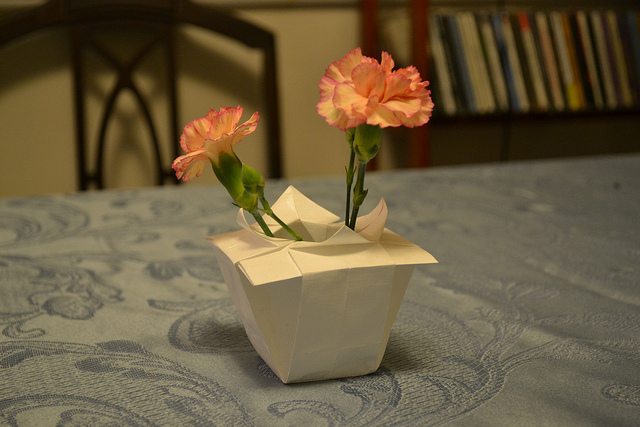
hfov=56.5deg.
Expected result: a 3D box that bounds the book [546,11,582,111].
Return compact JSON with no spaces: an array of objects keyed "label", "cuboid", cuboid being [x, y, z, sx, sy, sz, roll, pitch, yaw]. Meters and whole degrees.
[{"label":"book","cuboid":[0.476,-0.306,1.192,0.026,0.187,0.030,-3,9,14]}]

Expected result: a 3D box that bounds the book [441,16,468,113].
[{"label":"book","cuboid":[0.464,-0.512,2.032,0.030,0.271,0.337,-13,-22,6]}]

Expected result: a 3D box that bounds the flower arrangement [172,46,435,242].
[{"label":"flower arrangement","cuboid":[-0.018,-0.019,1.003,0.390,0.459,0.214,-7,36,-3]}]

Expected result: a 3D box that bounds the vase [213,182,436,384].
[{"label":"vase","cuboid":[0.009,0.117,0.976,0.342,0.261,0.332,-6,14,-26]}]

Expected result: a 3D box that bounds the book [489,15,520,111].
[{"label":"book","cuboid":[0.391,-0.313,1.257,0.039,0.218,0.027,-9,-6,10]}]

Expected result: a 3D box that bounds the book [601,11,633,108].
[{"label":"book","cuboid":[0.576,-0.299,1.151,0.039,0.233,0.035,-8,5,-6]}]

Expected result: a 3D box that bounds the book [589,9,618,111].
[{"label":"book","cuboid":[0.564,-0.298,1.164,0.041,0.038,0.257,1,-34,32]}]
